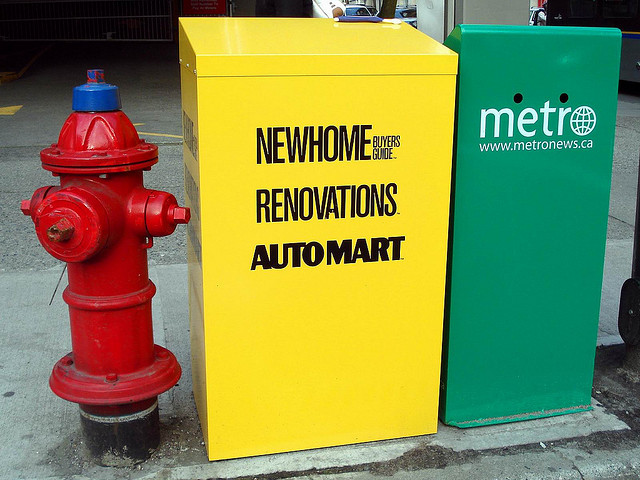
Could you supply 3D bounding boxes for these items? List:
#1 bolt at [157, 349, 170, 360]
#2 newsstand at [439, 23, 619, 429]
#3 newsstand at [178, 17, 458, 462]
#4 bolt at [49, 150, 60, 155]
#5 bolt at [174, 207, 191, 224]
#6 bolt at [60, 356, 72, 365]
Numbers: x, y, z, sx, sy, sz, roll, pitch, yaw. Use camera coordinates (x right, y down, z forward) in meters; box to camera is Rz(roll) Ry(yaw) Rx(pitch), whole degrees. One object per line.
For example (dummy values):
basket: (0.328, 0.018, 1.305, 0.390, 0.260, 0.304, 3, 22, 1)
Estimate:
bolt: (-0.837, 0.608, 3.327, 0.043, 0.014, 0.045, 28, 39, 27)
newsstand: (0.973, -0.100, 3.934, 0.982, 2.344, 1.295, -1, 14, -4)
newsstand: (0.037, 0.025, 3.819, 1.204, 2.595, 1.712, -3, 16, -10)
bolt: (-1.271, -0.420, 2.988, 0.040, 0.008, 0.083, -19, 29, -29)
bolt: (-0.674, -0.121, 3.051, 0.065, 0.078, 0.070, -3, 11, 19)
bolt: (-1.322, 0.623, 3.246, 0.034, 0.011, 0.036, 3, 15, 14)
